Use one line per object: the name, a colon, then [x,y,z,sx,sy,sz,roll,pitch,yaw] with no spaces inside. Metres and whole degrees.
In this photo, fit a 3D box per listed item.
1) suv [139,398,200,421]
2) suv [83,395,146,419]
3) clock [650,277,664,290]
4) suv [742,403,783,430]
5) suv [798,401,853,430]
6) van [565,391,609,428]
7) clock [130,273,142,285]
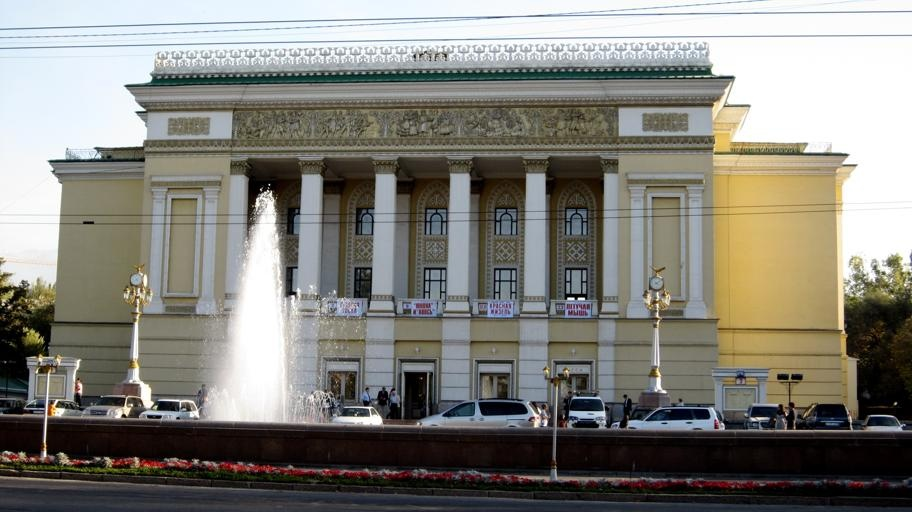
suv: [-16.331,8.808,87.408,1.720,1.147,2.541,-3,-14,13]
suv: [-19.823,8.686,87.771,1.677,1.149,2.961,-4,-13,22]
clock: [11.841,1.631,89.699,0.766,0.680,0.373,-2,-10,8]
suv: [17.671,9.266,87.731,1.336,1.032,2.293,-1,-14,5]
suv: [21.405,9.262,87.439,1.711,1.263,2.766,-1,0,9]
van: [7.447,8.841,86.778,2.097,1.800,2.261,-1,-8,3]
clock: [-18.672,1.363,88.150,0.606,0.564,0.217,28,-32,-31]
